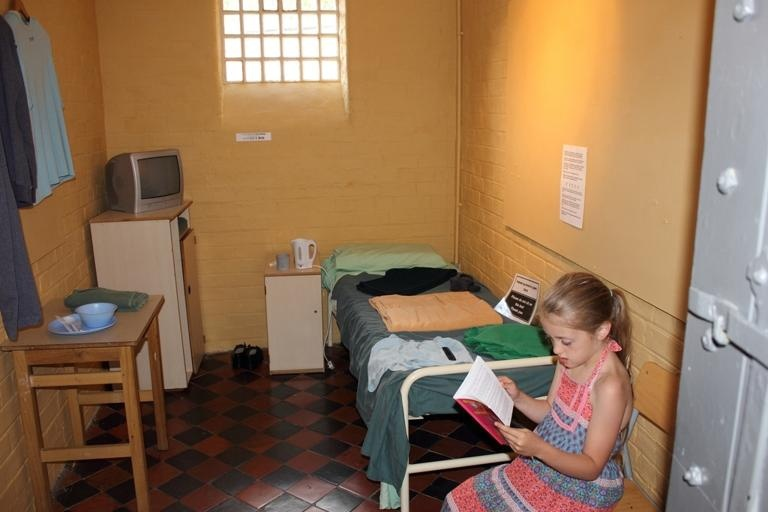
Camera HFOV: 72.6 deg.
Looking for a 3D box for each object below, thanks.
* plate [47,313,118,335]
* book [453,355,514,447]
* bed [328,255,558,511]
[{"bbox_3d":[-1.701,0.387,2.911,0.331,0.068,0.184,-6,15,-16],"label":"plate"},{"bbox_3d":[0.397,0.566,2.126,0.090,0.312,0.276,-36,48,12],"label":"book"},{"bbox_3d":[0.090,0.673,3.545,0.997,0.594,1.560,-4,15,-15],"label":"bed"}]
